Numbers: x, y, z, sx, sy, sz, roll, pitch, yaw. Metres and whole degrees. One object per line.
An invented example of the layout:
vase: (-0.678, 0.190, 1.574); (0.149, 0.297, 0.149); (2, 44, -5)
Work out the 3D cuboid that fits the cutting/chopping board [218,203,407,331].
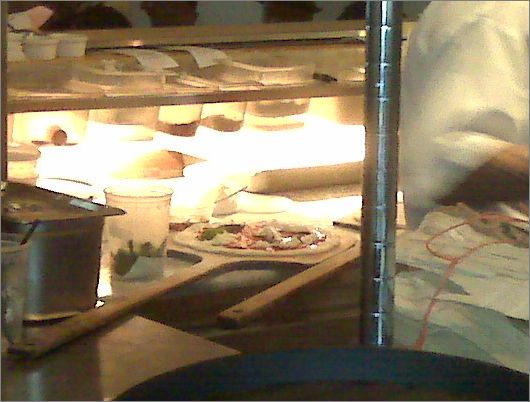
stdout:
cutting/chopping board: (0.339, 0.131, 2.947); (0.232, 0.065, 1.910); (4, 11, 30)
